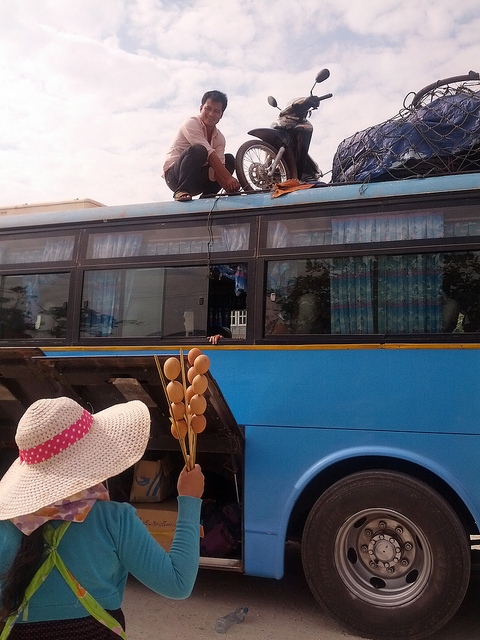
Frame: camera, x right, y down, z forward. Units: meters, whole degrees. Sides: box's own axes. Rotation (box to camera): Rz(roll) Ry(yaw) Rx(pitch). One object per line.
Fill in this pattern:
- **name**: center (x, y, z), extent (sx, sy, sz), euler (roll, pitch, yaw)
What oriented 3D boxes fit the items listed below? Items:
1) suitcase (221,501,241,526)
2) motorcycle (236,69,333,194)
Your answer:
- **suitcase**: center (-0.047, 1.370, 4.023), extent (0.089, 0.038, 0.121), euler (-13, 41, -17)
- **motorcycle**: center (0.396, -1.732, 5.555), extent (0.856, 1.045, 0.452), euler (6, -12, -28)
